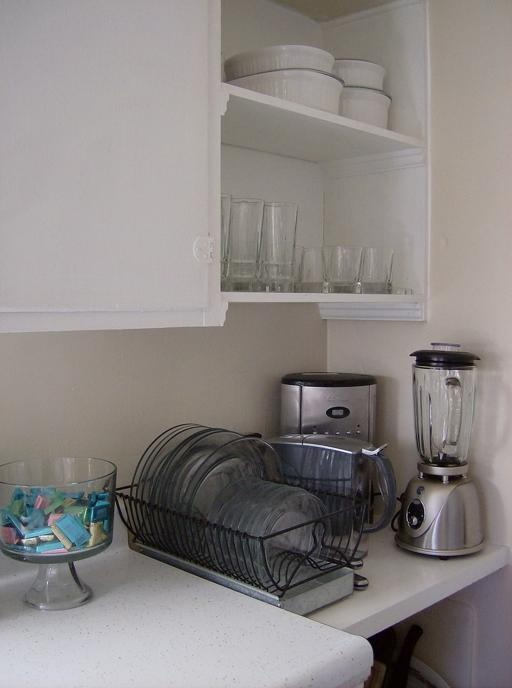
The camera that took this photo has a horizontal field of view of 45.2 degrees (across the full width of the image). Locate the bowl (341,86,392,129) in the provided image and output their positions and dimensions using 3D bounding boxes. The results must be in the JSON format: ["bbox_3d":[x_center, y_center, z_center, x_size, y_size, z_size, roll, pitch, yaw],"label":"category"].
[{"bbox_3d":[0.239,-0.525,1.402,0.110,0.077,0.114,1,1,0],"label":"bowl"}]

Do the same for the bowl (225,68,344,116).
[{"bbox_3d":[0.071,-0.482,1.171,0.230,0.079,0.069,-1,1,-21],"label":"bowl"}]

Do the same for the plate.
[{"bbox_3d":[-0.051,0.270,1.115,0.301,0.151,0.231,7,6,44],"label":"plate"}]

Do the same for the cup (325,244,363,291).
[{"bbox_3d":[0.189,-0.167,1.395,0.092,0.107,0.095,0,-9,0],"label":"cup"}]
